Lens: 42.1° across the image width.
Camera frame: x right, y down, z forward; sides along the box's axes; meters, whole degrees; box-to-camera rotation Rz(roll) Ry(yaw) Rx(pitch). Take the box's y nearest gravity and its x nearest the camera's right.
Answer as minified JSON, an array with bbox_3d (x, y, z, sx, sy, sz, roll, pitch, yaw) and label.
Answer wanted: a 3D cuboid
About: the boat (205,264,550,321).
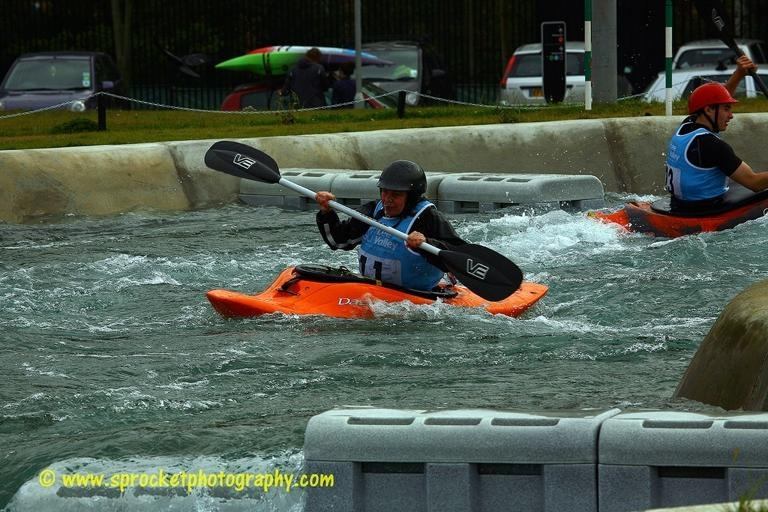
[{"bbox_3d":[0.018,0.338,8.376,2.975,0.381,0.758,1,6,-10],"label":"boat"}]

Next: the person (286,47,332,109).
[{"bbox_3d":[-1.327,-3.066,18.801,1.041,1.328,0.617,8,21,31],"label":"person"}]

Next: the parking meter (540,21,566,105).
[{"bbox_3d":[3.036,-3.430,17.841,0.398,1.448,0.689,-3,13,7],"label":"parking meter"}]

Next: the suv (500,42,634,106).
[{"bbox_3d":[3.196,-3.626,20.039,1.887,1.032,2.767,4,13,21],"label":"suv"}]
